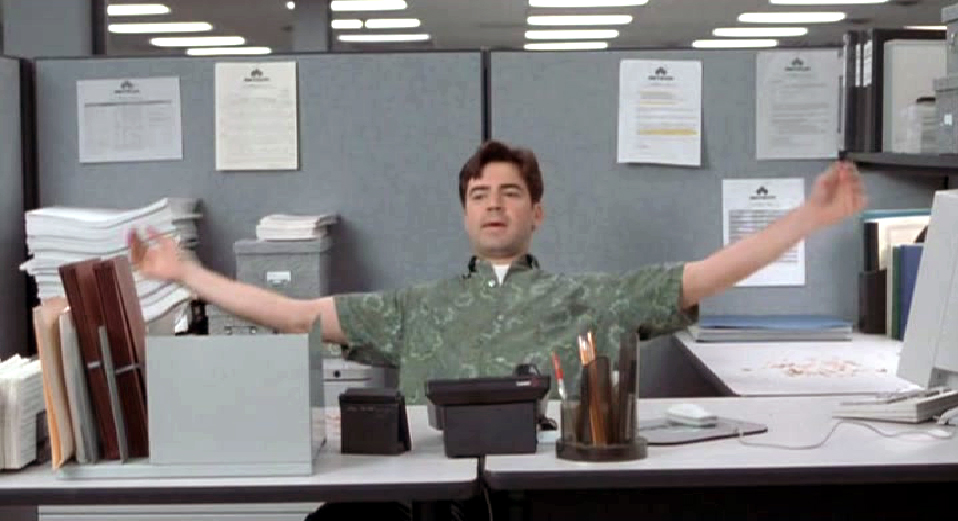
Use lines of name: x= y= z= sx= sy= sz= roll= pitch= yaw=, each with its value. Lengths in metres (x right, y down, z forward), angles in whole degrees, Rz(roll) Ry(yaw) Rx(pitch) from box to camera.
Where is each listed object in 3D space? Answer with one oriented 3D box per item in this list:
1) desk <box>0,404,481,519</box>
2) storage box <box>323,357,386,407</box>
desk: x=-0.669 y=0.619 z=2.604 sx=1.299 sy=0.191 sz=0.297 roll=-2 pitch=5 yaw=-8
storage box: x=-0.521 y=0.468 z=3.623 sx=0.205 sy=0.086 sz=0.263 roll=0 pitch=2 yaw=3
